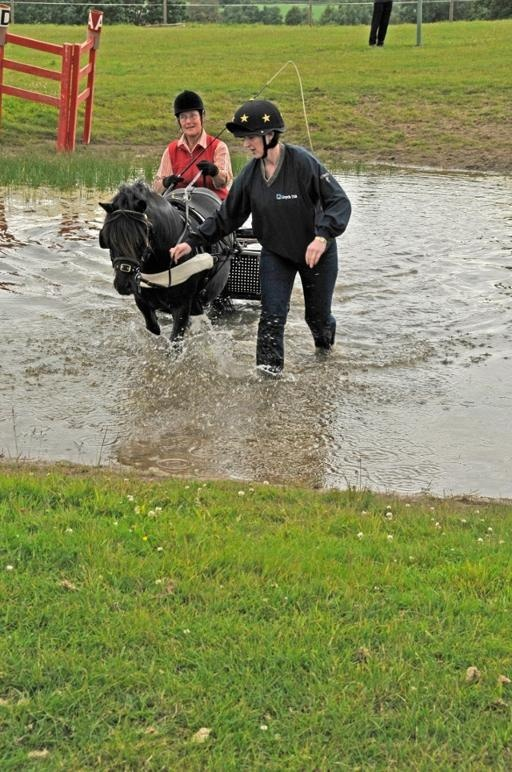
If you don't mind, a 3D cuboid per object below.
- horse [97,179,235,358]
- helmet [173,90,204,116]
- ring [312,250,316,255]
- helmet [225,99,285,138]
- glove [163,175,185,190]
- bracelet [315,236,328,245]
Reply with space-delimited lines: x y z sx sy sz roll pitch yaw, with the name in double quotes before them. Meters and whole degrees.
"horse" -0.642 -1.085 7.745 0.751 1.308 2.222 4 15 21
"helmet" -0.612 -2.550 8.064 0.205 0.148 0.273 -4 15 0
"ring" 0.428 -0.978 6.541 0.018 0.032 0.018 5 12 -1
"helmet" -0.007 -1.949 6.532 0.374 0.184 0.274 -14 30 -29
"glove" -0.748 -1.846 8.142 0.145 0.061 0.182 -1 10 26
"bracelet" 0.482 -1.078 6.642 0.088 0.051 0.106 5 11 1
